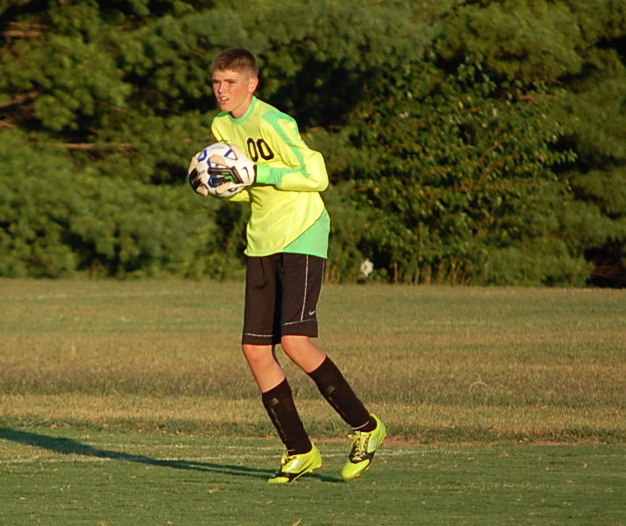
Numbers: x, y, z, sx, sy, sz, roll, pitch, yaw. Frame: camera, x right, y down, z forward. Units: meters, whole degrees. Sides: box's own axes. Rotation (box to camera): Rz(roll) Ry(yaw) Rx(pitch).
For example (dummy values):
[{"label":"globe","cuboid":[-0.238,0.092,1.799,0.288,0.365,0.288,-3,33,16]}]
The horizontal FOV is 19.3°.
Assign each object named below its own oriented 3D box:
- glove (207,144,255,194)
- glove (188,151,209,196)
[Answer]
[{"label":"glove","cuboid":[-1.021,-1.179,23.280,0.623,0.629,0.136,5,6,16]},{"label":"glove","cuboid":[-1.468,-1.127,23.445,0.156,0.498,0.351,-5,9,0]}]
